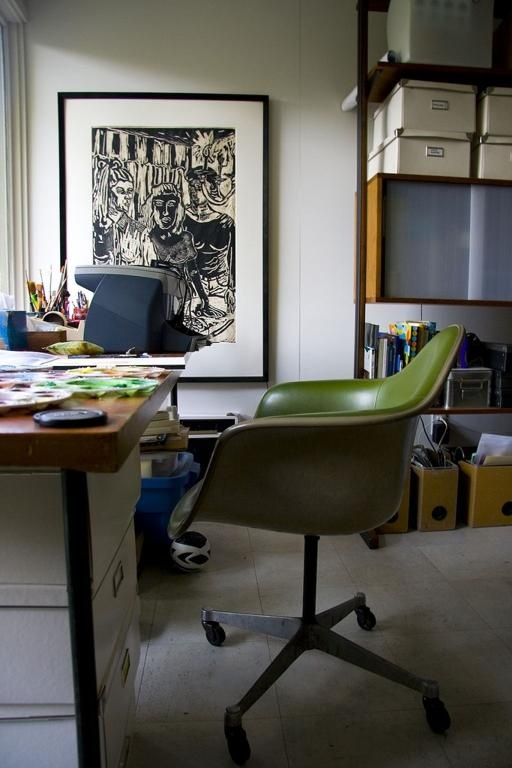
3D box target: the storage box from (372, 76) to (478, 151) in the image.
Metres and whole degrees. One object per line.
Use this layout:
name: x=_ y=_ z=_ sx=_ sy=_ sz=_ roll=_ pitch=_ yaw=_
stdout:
storage box: x=0.644 y=-1.051 z=2.440 sx=0.245 sy=0.153 sz=0.253 roll=-2 pitch=8 yaw=-12

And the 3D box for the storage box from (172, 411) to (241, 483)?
storage box: x=-0.260 y=0.290 z=2.781 sx=0.319 sy=0.240 sz=0.184 roll=-2 pitch=-16 yaw=-27

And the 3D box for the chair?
chair: x=0.124 y=0.254 z=1.588 sx=0.724 sy=1.016 sz=0.843 roll=1 pitch=7 yaw=1

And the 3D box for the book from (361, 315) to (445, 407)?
book: x=0.550 y=-0.114 z=2.508 sx=0.314 sy=0.488 sz=0.343 roll=3 pitch=6 yaw=3

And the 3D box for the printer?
printer: x=-0.389 y=-0.254 z=2.021 sx=0.372 sy=0.274 sz=0.293 roll=2 pitch=7 yaw=2

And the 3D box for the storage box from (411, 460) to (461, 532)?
storage box: x=0.711 y=0.436 z=2.447 sx=0.158 sy=0.252 sz=0.192 roll=-1 pitch=6 yaw=-11

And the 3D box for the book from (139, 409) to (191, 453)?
book: x=-0.316 y=0.161 z=2.133 sx=0.184 sy=0.149 sz=0.092 roll=3 pitch=7 yaw=-11

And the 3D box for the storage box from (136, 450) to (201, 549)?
storage box: x=-0.292 y=0.384 z=2.133 sx=0.214 sy=0.205 sz=0.317 roll=0 pitch=3 yaw=2

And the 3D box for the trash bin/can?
trash bin/can: x=-0.290 y=0.386 z=2.082 sx=0.215 sy=0.206 sz=0.318 roll=0 pitch=3 yaw=2

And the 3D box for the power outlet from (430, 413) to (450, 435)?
power outlet: x=0.912 y=0.195 z=3.022 sx=0.060 sy=0.068 sz=0.114 roll=-14 pitch=12 yaw=34

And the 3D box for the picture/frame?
picture/frame: x=-0.468 y=-0.788 z=3.024 sx=0.850 sy=1.213 sz=0.034 roll=1 pitch=46 yaw=-8
